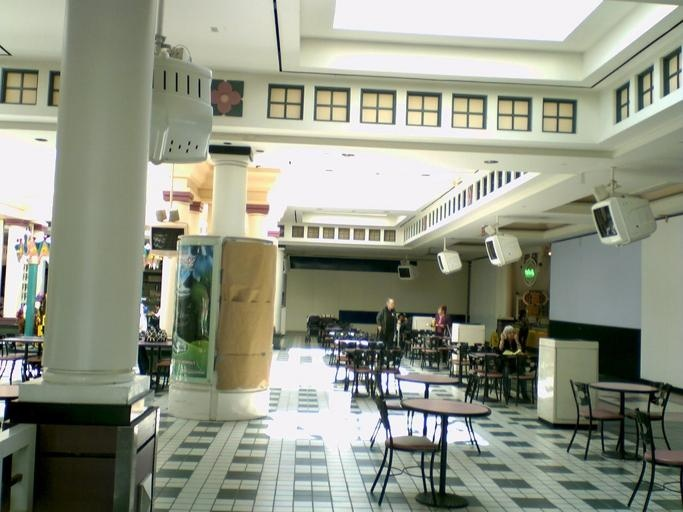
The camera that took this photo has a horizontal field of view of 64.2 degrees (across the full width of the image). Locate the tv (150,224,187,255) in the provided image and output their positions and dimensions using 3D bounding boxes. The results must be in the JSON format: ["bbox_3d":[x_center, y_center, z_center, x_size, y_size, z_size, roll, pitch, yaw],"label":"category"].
[{"bbox_3d":[-3.312,-0.295,10.440,0.518,0.485,0.294,1,-8,-8],"label":"tv"}]

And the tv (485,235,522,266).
[{"bbox_3d":[4.117,-0.158,13.753,0.474,0.583,0.956,-10,-2,-10],"label":"tv"}]

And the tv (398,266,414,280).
[{"bbox_3d":[2.834,0.737,23.830,0.843,0.876,0.479,-1,-2,15],"label":"tv"}]

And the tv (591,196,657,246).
[{"bbox_3d":[4.227,-0.529,8.395,0.769,0.797,0.733,-8,0,0],"label":"tv"}]

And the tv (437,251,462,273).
[{"bbox_3d":[3.673,0.189,18.366,0.536,0.650,1.039,-6,-2,22],"label":"tv"}]

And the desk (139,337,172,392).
[{"bbox_3d":[-3.611,2.114,10.539,0.585,0.908,1.774,3,-5,-18],"label":"desk"}]
